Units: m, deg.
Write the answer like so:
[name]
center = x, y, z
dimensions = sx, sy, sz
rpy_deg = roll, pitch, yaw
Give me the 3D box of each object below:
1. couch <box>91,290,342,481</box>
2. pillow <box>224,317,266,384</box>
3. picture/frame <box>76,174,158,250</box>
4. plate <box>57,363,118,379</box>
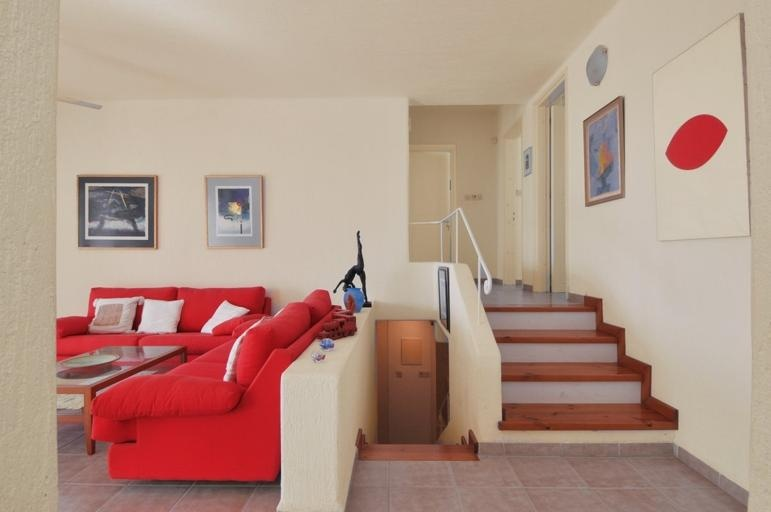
[couch]
center = -1.428, 1.140, 4.668
dimensions = 1.685, 1.150, 0.549
rpy_deg = -1, 1, 1
[pillow]
center = -1.213, 0.776, 4.635
dimensions = 0.166, 0.426, 0.437
rpy_deg = 9, -5, -4
[picture/frame]
center = -3.421, -0.566, 7.240
dimensions = 0.995, 0.872, 0.075
rpy_deg = 1, -3, -5
[plate]
center = -2.648, 1.020, 5.073
dimensions = 0.369, 0.060, 0.373
rpy_deg = 3, 1, -3
